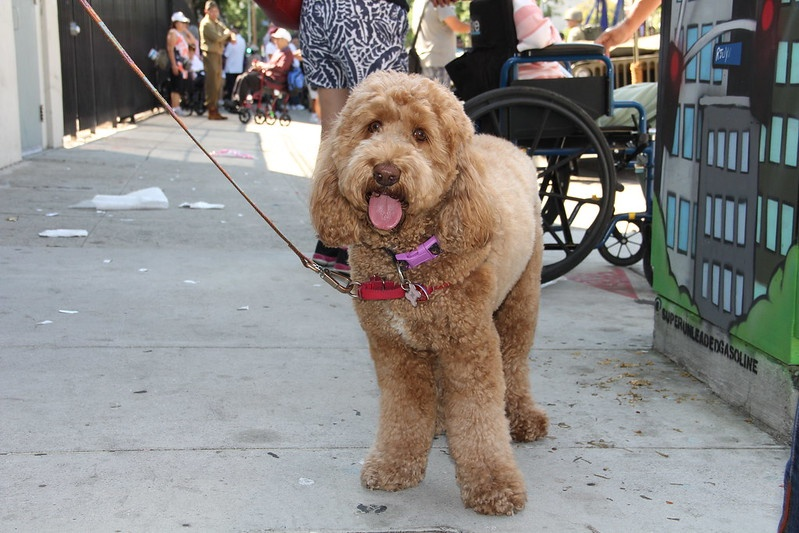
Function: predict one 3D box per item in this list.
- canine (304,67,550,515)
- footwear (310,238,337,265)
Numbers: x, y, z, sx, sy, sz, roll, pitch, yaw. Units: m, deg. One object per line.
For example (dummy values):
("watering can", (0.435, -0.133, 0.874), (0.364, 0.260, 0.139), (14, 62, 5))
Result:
("canine", (0.288, 0.075, 4.755), (1.098, 2.179, 2.303), (6, 13, 25))
("footwear", (-0.670, -0.108, 6.835), (0.135, 0.250, 0.385), (7, 9, 14))
